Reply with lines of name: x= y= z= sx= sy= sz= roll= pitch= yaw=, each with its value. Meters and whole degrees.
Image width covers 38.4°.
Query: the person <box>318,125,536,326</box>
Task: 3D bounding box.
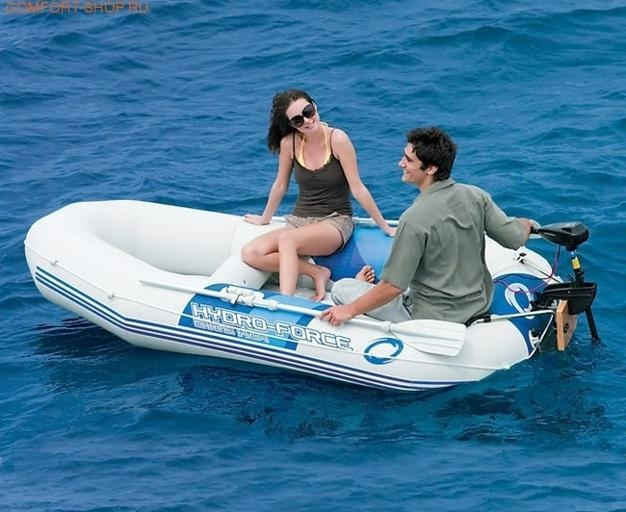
person: x=0.878 y=-0.117 z=6.518 sx=1.023 sy=1.637 sz=0.904 roll=22 pitch=42 yaw=18

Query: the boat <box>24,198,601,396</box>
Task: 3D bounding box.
boat: x=-0.059 y=0.175 z=7.540 sx=4.793 sy=0.970 sz=1.388 roll=11 pitch=50 yaw=14

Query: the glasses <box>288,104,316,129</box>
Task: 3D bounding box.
glasses: x=-0.089 y=-1.104 z=7.218 sx=0.211 sy=0.266 sz=0.183 roll=4 pitch=38 yaw=-2
